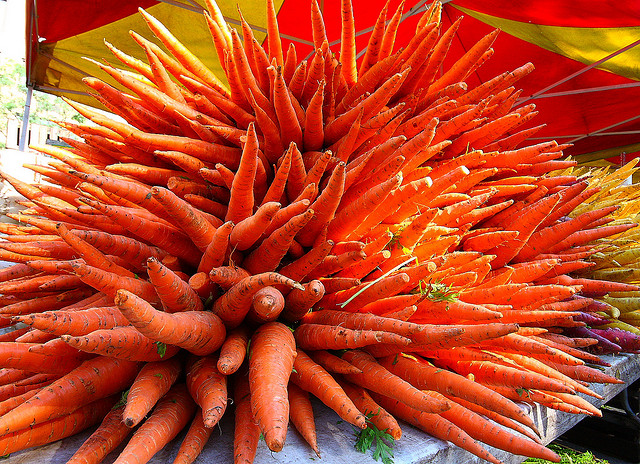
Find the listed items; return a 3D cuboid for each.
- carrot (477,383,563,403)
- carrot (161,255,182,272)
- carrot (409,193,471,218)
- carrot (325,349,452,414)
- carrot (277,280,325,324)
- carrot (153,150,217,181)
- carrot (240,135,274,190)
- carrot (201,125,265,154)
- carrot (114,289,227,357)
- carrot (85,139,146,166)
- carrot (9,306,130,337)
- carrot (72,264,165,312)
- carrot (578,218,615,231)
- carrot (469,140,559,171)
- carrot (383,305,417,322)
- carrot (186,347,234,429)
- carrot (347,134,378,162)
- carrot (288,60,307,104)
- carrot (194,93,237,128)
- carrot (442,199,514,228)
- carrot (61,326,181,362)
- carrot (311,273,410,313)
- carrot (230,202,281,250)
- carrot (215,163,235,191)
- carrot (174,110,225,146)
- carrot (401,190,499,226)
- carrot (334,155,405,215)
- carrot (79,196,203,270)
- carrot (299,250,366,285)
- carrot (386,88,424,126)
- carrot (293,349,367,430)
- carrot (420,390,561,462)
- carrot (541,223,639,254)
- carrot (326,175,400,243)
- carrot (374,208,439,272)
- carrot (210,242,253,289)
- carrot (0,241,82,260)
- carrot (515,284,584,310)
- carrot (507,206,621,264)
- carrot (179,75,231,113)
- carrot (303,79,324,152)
[{"bbox_3d":[0.939,0.757,2.378,0.334,0.049,0.047,17,26,6],"label":"carrot"},{"bbox_3d":[-0.683,0.139,2.337,0.075,0.058,0.027,34,-27,-31],"label":"carrot"},{"bbox_3d":[0.600,-0.134,2.554,0.237,0.047,0.046,-22,53,-19],"label":"carrot"},{"bbox_3d":[0.289,0.679,2.261,0.638,0.114,0.128,17,-31,35],"label":"carrot"},{"bbox_3d":[-0.089,0.321,2.262,0.109,0.108,0.344,14,-30,-21],"label":"carrot"},{"bbox_3d":[-0.739,-0.341,2.531,0.429,0.116,0.083,-8,-15,27],"label":"carrot"},{"bbox_3d":[-0.296,-0.323,2.371,0.059,0.317,0.080,-20,1,13],"label":"carrot"},{"bbox_3d":[-0.441,-0.463,2.527,0.320,0.080,0.072,30,40,-9],"label":"carrot"},{"bbox_3d":[-0.621,0.398,2.095,0.183,0.201,0.655,28,-4,26],"label":"carrot"},{"bbox_3d":[-1.124,-0.451,2.811,0.346,0.049,0.042,31,54,-11],"label":"carrot"},{"bbox_3d":[-0.980,0.386,2.044,0.109,0.120,0.494,-27,-13,21],"label":"carrot"},{"bbox_3d":[-0.845,0.237,2.164,0.367,0.072,0.096,26,42,-39],"label":"carrot"},{"bbox_3d":[1.687,-0.049,3.105,0.026,0.180,0.024,37,38,-40],"label":"carrot"},{"bbox_3d":[1.155,-0.458,3.034,0.476,0.084,0.077,-20,48,3],"label":"carrot"},{"bbox_3d":[0.357,0.377,2.283,0.167,0.054,0.045,-16,31,21],"label":"carrot"},{"bbox_3d":[-0.504,0.641,2.270,0.194,0.203,0.607,-4,13,-21],"label":"carrot"},{"bbox_3d":[0.216,-0.431,2.562,0.033,0.224,0.034,50,13,13],"label":"carrot"},{"bbox_3d":[-0.115,-0.809,2.702,0.064,0.230,0.064,2,44,-9],"label":"carrot"},{"bbox_3d":[-0.560,-0.655,2.695,0.276,0.062,0.071,36,41,-7],"label":"carrot"},{"bbox_3d":[0.852,-0.100,2.734,0.332,0.049,0.048,-22,32,-7],"label":"carrot"},{"bbox_3d":[-0.815,0.455,2.099,0.517,0.158,0.147,1,11,-4],"label":"carrot"},{"bbox_3d":[0.185,0.288,2.337,0.369,0.098,0.084,-18,-12,16],"label":"carrot"},{"bbox_3d":[-0.286,-0.026,2.208,0.123,0.319,0.118,4,53,-42],"label":"carrot"},{"bbox_3d":[-0.436,-0.268,2.413,0.052,0.057,0.185,1,-33,17],"label":"carrot"},{"bbox_3d":[-0.627,-0.546,2.644,0.297,0.059,0.053,41,-24,-12],"label":"carrot"},{"bbox_3d":[0.647,-0.128,2.590,0.398,0.061,0.060,-23,19,6],"label":"carrot"},{"bbox_3d":[0.240,-0.223,2.417,0.060,0.370,0.066,49,1,38],"label":"carrot"},{"bbox_3d":[-0.805,-0.015,2.233,0.140,0.151,0.723,5,-13,26],"label":"carrot"},{"bbox_3d":[0.056,0.163,2.333,0.048,0.213,0.057,51,26,-18],"label":"carrot"},{"bbox_3d":[0.451,-0.680,2.734,0.071,0.337,0.051,30,-13,32],"label":"carrot"},{"bbox_3d":[0.024,0.688,2.238,0.140,0.147,0.599,-21,20,-23],"label":"carrot"},{"bbox_3d":[0.751,0.888,2.311,0.761,0.110,0.110,29,-5,4],"label":"carrot"},{"bbox_3d":[1.662,0.043,3.149,0.476,0.059,0.066,-17,21,2],"label":"carrot"},{"bbox_3d":[0.207,-0.102,2.406,0.097,0.397,0.082,30,27,-42],"label":"carrot"},{"bbox_3d":[0.411,0.037,2.465,0.064,0.335,0.083,36,18,-5],"label":"carrot"},{"bbox_3d":[-0.368,0.133,2.284,0.285,0.098,0.095,37,8,-50],"label":"carrot"},{"bbox_3d":[-1.431,0.095,2.609,0.315,0.059,0.053,4,32,3],"label":"carrot"},{"bbox_3d":[1.210,0.351,2.702,0.505,0.062,0.071,-13,7,-31],"label":"carrot"},{"bbox_3d":[1.434,0.022,3.010,0.104,0.581,0.100,58,2,-1],"label":"carrot"},{"bbox_3d":[-0.593,-0.770,2.800,0.078,0.081,0.440,37,10,24],"label":"carrot"},{"bbox_3d":[-0.035,-0.583,2.562,0.080,0.358,0.091,10,49,6],"label":"carrot"}]
